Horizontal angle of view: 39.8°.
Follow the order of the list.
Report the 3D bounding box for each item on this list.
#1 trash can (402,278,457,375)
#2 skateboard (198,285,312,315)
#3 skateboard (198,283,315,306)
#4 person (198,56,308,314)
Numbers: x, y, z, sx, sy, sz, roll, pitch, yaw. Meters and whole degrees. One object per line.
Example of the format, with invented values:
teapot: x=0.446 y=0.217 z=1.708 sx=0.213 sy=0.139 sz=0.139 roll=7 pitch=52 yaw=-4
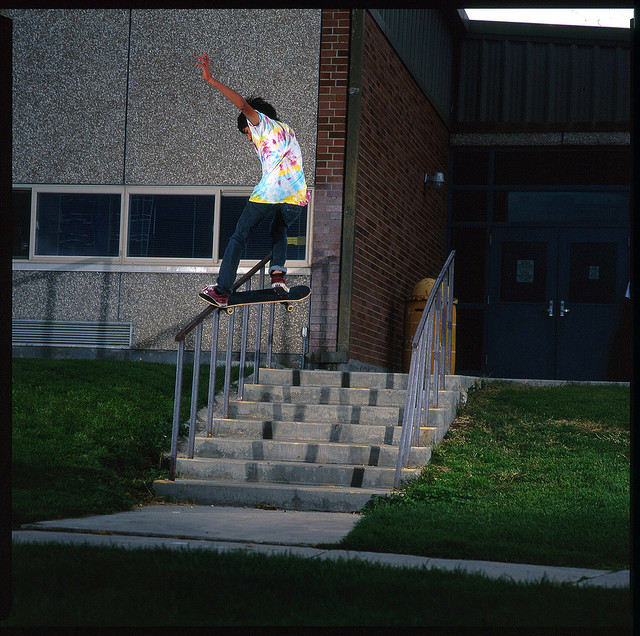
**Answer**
trash can: x=1.488 y=0.211 z=11.993 sx=0.711 sy=1.498 sz=0.793 roll=-1 pitch=8 yaw=20
skateboard: x=-0.614 y=-0.193 z=8.960 sx=0.668 sy=0.136 sz=0.183 roll=-9 pitch=36 yaw=-3
skateboard: x=-0.590 y=-0.241 z=8.790 sx=0.619 sy=0.103 sz=0.188 roll=-4 pitch=25 yaw=0
person: x=-0.569 y=-1.081 z=8.290 sx=0.959 sy=2.318 sz=0.901 roll=5 pitch=0 yaw=-23
